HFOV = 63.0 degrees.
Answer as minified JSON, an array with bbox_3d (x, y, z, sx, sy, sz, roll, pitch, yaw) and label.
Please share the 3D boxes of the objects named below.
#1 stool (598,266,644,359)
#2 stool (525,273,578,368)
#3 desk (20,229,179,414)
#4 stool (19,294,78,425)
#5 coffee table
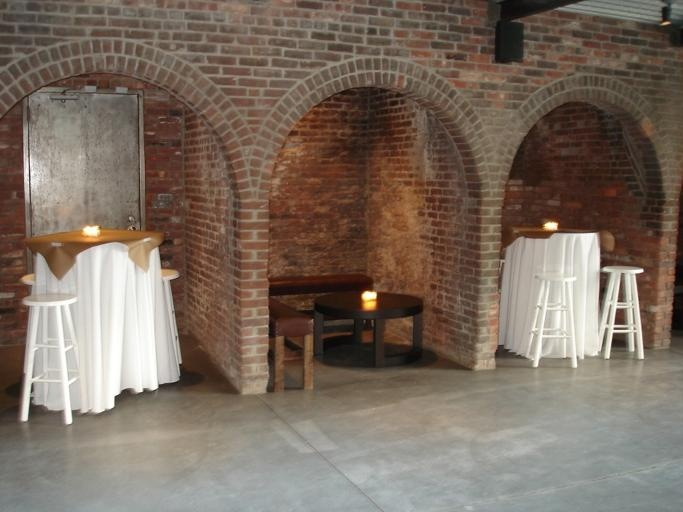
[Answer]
[{"bbox_3d":[3.676,0.679,7.284,0.582,1.139,1.184,5,11,27],"label":"stool"},{"bbox_3d":[2.591,0.761,6.743,0.619,1.091,0.593,3,10,15],"label":"stool"},{"bbox_3d":[-2.249,0.527,6.111,1.917,1.689,1.632,-2,8,-19],"label":"desk"},{"bbox_3d":[-2.747,0.931,5.121,0.622,1.158,0.508,1,10,3],"label":"stool"},{"bbox_3d":[0.448,0.768,6.850,1.084,0.476,1.036,-4,8,-35],"label":"coffee table"}]
